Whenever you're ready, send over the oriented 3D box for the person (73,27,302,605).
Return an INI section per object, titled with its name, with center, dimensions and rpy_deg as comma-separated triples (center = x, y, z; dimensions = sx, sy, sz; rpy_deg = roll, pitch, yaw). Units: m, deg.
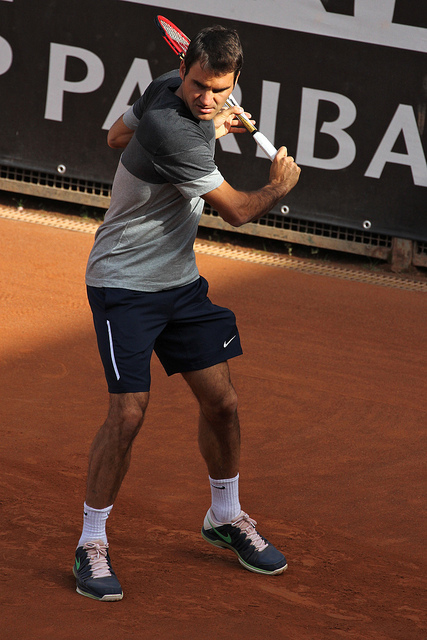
[person]
center = -0.059, -0.020, 2.441
dimensions = 0.686, 1.858, 0.674
rpy_deg = 5, 14, -25
